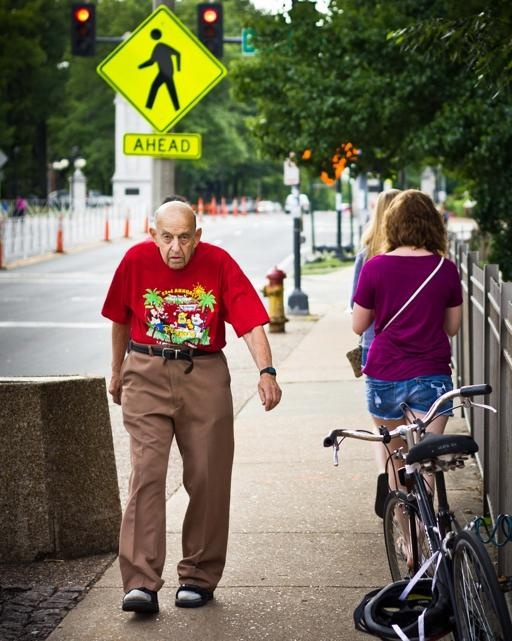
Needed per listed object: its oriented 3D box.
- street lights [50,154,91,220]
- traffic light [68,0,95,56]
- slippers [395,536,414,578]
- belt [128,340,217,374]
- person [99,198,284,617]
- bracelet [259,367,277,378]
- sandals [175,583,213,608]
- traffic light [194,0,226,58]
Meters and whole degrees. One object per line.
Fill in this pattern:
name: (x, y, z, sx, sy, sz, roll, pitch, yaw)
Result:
street lights: (-1.545, -1.143, 8.787, 0.376, 0.597, 0.346, -3, 11, -10)
traffic light: (-1.590, -2.695, 9.539, 0.228, 0.600, 0.565, -2, 3, -8)
slippers: (0.569, 0.928, 3.989, 0.054, 0.154, 0.108, -14, -38, 10)
belt: (-0.345, 0.155, 4.317, 0.362, 0.130, 0.152, -2, 3, -5)
person: (-0.317, 0.350, 4.239, 0.842, 1.715, 0.792, 1, 1, 18)
bracelet: (0.056, 0.214, 4.226, 0.042, 0.047, 0.043, -1, -14, -30)
sandals: (-0.257, 1.144, 4.266, 0.152, 0.064, 0.066, 9, -7, -38)
traffic light: (-0.461, -2.925, 10.383, 0.250, 0.482, 0.361, -1, 2, -4)
